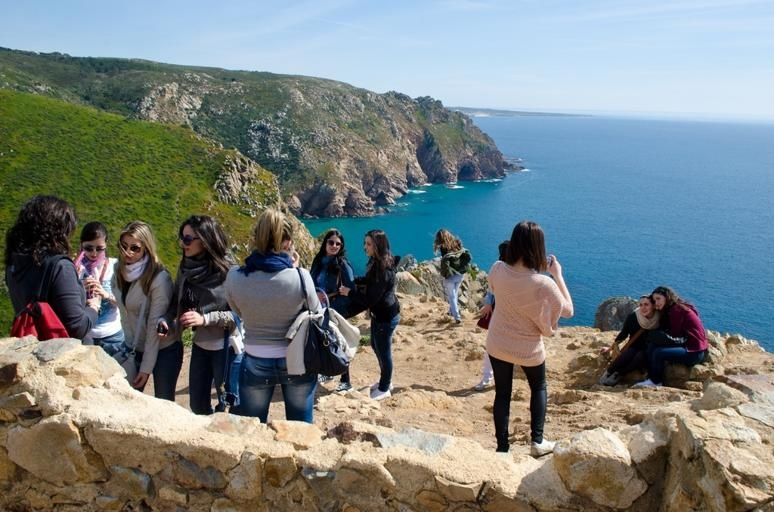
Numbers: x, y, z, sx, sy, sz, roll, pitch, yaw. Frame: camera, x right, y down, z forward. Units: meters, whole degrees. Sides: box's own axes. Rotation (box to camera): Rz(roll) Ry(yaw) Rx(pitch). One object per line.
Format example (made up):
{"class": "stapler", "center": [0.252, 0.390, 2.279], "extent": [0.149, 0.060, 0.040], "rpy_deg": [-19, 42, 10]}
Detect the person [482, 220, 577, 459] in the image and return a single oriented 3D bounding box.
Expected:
{"class": "person", "center": [1.786, 1.097, 6.688], "extent": [0.995, 3.059, 0.726], "rpy_deg": [3, 13, 10]}

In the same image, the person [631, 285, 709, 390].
{"class": "person", "center": [5.141, 1.449, 9.247], "extent": [0.891, 1.655, 0.627], "rpy_deg": [3, 13, 14]}

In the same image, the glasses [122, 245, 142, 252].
{"class": "glasses", "center": [-3.256, -0.105, 6.642], "extent": [0.237, 0.135, 0.070], "rpy_deg": [-5, 13, -21]}

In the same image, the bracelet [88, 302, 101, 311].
{"class": "bracelet", "center": [-3.763, 0.633, 6.699], "extent": [0.117, 0.087, 0.115], "rpy_deg": [-5, 7, -17]}

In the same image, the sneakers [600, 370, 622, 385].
{"class": "sneakers", "center": [4.158, 2.247, 9.564], "extent": [0.349, 0.146, 0.194], "rpy_deg": [-5, 57, -25]}

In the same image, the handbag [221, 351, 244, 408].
{"class": "handbag", "center": [-2.111, 1.673, 7.050], "extent": [0.196, 0.725, 0.445], "rpy_deg": [7, -5, -23]}

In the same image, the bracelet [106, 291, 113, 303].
{"class": "bracelet", "center": [-3.651, 0.553, 6.896], "extent": [0.035, 0.097, 0.098], "rpy_deg": [-21, 23, -24]}

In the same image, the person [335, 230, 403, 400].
{"class": "person", "center": [-0.210, 1.059, 8.776], "extent": [0.808, 3.088, 0.970], "rpy_deg": [0, 13, 0]}

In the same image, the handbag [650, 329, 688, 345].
{"class": "handbag", "center": [4.979, 1.465, 9.199], "extent": [0.335, 0.141, 0.329], "rpy_deg": [0, 23, -1]}

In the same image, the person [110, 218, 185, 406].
{"class": "person", "center": [-3.104, 0.837, 6.787], "extent": [0.884, 2.524, 0.701], "rpy_deg": [7, 14, 29]}

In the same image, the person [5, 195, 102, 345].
{"class": "person", "center": [-4.100, 0.150, 6.245], "extent": [0.847, 1.742, 0.505], "rpy_deg": [-4, 13, -20]}

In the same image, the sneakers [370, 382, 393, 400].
{"class": "sneakers", "center": [-0.085, 2.385, 9.179], "extent": [0.355, 0.131, 0.212], "rpy_deg": [-8, 21, -29]}

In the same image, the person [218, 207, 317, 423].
{"class": "person", "center": [-1.342, 0.811, 6.191], "extent": [1.085, 2.699, 0.471], "rpy_deg": [-1, 13, -7]}

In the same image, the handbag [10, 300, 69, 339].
{"class": "handbag", "center": [-4.123, 0.750, 6.215], "extent": [0.360, 0.357, 0.215], "rpy_deg": [21, 27, 35]}
